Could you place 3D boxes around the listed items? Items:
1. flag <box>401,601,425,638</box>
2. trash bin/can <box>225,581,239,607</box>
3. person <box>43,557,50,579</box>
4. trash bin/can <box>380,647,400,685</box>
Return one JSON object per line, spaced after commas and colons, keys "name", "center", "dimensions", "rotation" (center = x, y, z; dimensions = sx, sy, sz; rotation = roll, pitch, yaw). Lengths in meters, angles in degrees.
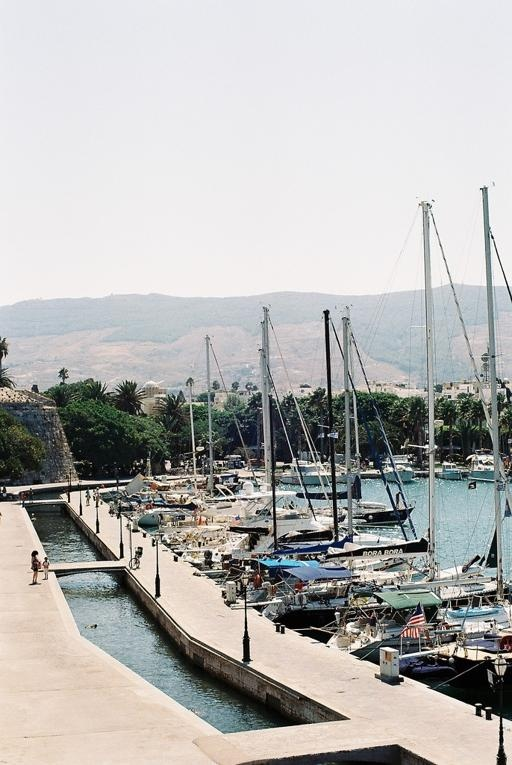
{"name": "flag", "center": [4.984, 7.639, 34.659], "dimensions": [0.786, 0.909, 0.074], "rotation": [-13, -2, -3]}
{"name": "trash bin/can", "center": [-0.942, 8.029, 41.373], "dimensions": [0.438, 0.768, 1.273], "rotation": [-2, -2, -2]}
{"name": "person", "center": [-9.154, 8.121, 47.546], "dimensions": [0.223, 0.850, 1.350], "rotation": [-1, -2, -12]}
{"name": "trash bin/can", "center": [3.758, 8.103, 30.775], "dimensions": [0.456, 0.852, 0.911], "rotation": [2, -5, -16]}
